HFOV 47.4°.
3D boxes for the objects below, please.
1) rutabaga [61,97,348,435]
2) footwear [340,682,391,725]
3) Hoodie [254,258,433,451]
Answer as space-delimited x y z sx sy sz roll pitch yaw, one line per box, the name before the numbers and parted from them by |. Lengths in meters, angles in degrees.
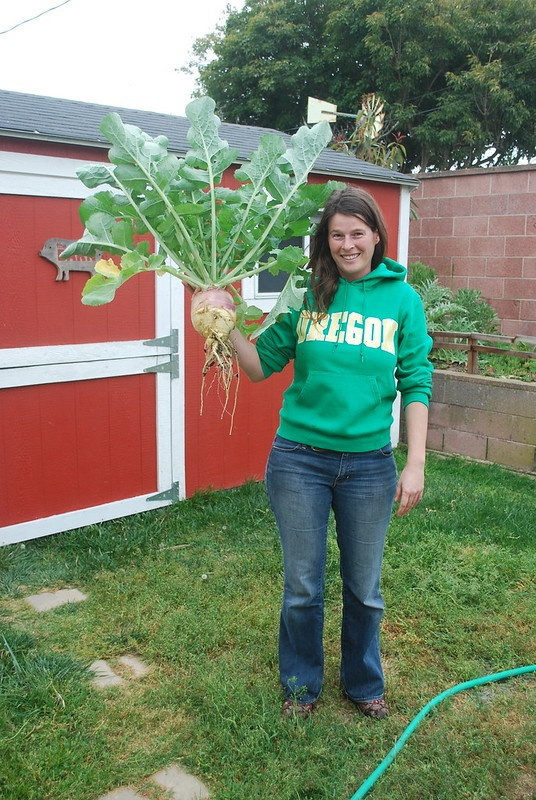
rutabaga | -0.229 -0.464 2.217 0.932 1.002 0.402 5 -26 -5
footwear | 0.387 1.167 2.356 0.067 0.073 0.176 1 -1 -29
Hoodie | 0.264 -0.190 2.128 0.695 0.652 0.304 14 18 17
